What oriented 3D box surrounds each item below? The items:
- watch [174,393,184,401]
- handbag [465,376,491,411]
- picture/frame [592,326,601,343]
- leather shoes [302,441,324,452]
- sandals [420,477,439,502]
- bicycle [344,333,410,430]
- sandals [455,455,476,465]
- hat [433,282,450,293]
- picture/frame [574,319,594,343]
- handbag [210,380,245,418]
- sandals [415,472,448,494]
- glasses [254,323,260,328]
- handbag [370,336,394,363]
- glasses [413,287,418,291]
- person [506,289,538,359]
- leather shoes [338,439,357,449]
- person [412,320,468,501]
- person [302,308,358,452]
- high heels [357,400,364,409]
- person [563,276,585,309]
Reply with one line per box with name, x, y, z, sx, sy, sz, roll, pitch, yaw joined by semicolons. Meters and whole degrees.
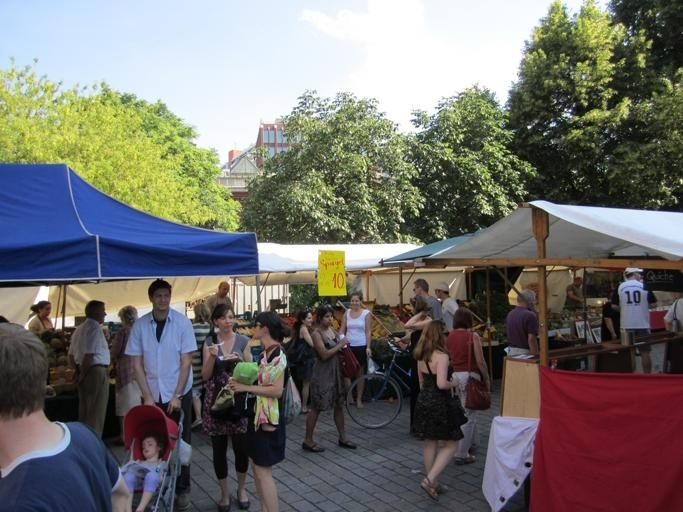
watch;-1.778;1.542;6.191;0.045;0.060;0.033;16;-29;-3
handbag;1.698;1.726;7.134;0.162;0.414;0.396;-7;-15;43
picture/frame;5.066;1.571;11.288;0.084;0.373;0.370;-4;-21;33
leather shoes;-0.394;2.694;7.959;0.256;0.107;0.136;1;-3;3
sandals;0.973;2.629;6.351;0.123;0.128;0.338;-29;-56;8
bicycle;0.701;2.303;9.925;1.456;1.037;0.748;3;-4;-25
sandals;1.610;2.638;7.394;0.260;0.124;0.104;-3;2;-32
hat;1.687;0.486;9.756;0.195;0.162;0.268;-1;10;-36
picture/frame;4.585;1.419;10.678;0.275;0.445;0.098;-11;-29;20
handbag;-1.139;1.452;5.705;0.430;0.492;0.245;-3;-11;9
sandals;1.075;2.656;6.589;0.143;0.204;0.481;0;-16;39
glasses;-0.845;0.698;5.712;0.014;0.045;0.040;-2;-4;44
handbag;0.781;1.775;10.781;0.357;0.449;0.415;-2;8;-1
glasses;1.223;0.519;9.252;0.043;0.061;0.144;-2;3;-17
person;2.614;1.013;8.196;0.432;0.990;1.367;0;3;18
leather shoes;0.077;2.683;8.101;0.268;0.122;0.100;-4;-4;29
person;1.160;1.749;6.776;0.624;1.991;1.066;-1;3;1
person;-0.218;1.737;8.218;0.723;2.018;0.978;-1;3;-1
high heels;0.315;2.608;9.921;0.093;0.137;0.304;-1;-14;-6
person;6.269;1.003;15.313;0.408;0.782;1.387;0;3;22
